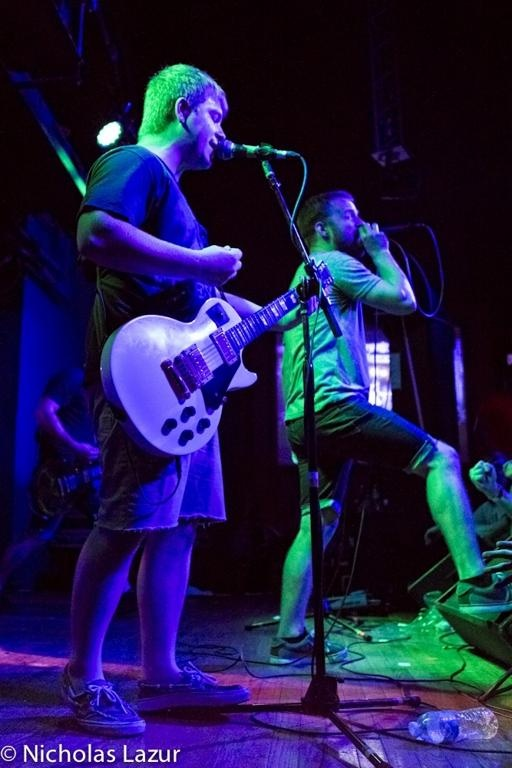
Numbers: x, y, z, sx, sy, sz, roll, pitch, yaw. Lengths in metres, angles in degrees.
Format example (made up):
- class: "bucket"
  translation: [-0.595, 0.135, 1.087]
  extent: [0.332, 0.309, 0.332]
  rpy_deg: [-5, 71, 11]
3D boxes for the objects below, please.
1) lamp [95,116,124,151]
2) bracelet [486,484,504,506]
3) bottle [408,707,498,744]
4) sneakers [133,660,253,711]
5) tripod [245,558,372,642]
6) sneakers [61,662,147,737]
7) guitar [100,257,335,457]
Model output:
- class: "lamp"
  translation: [-0.894, -1.530, 4.271]
  extent: [0.130, 0.184, 0.048]
  rpy_deg: [44, 15, -6]
- class: "bracelet"
  translation: [0.934, 0.439, 2.737]
  extent: [0.099, 0.087, 0.064]
  rpy_deg: [0, -4, -34]
- class: "bottle"
  translation: [0.518, 0.880, 1.795]
  extent: [0.254, 0.085, 0.089]
  rpy_deg: [8, -40, -21]
- class: "sneakers"
  translation: [-0.186, 0.878, 2.049]
  extent: [0.330, 0.137, 0.120]
  rpy_deg: [0, -19, -6]
- class: "tripod"
  translation: [0.416, 1.241, 3.985]
  extent: [0.429, 0.166, 0.426]
  rpy_deg: [1, 7, -15]
- class: "sneakers"
  translation: [-0.385, 0.816, 1.793]
  extent: [0.250, 0.090, 0.099]
  rpy_deg: [-6, -26, 46]
- class: "guitar"
  translation: [-0.164, -0.064, 2.020]
  extent: [0.614, 0.582, 0.146]
  rpy_deg: [14, -17, -35]
